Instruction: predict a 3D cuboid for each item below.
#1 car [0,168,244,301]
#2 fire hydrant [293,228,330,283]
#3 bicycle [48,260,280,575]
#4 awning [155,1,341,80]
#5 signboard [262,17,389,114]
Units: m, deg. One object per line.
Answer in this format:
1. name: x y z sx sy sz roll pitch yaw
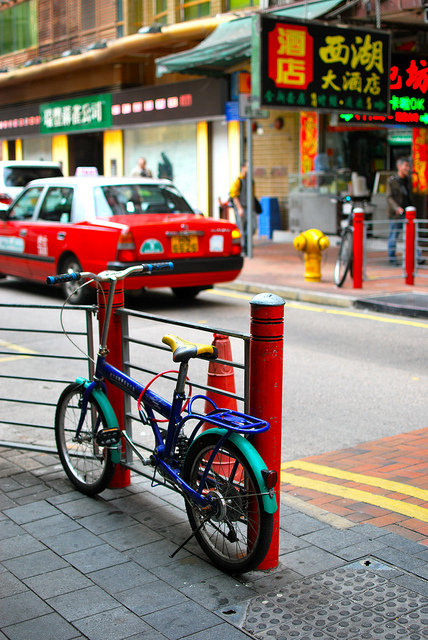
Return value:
1. car: -1.815 -1.470 10.461 1.857 1.264 3.806 -12 20 -39
2. fire hydrant: 1.691 -1.125 12.005 0.549 0.903 0.566 -1 6 6
3. bicycle: -0.325 0.413 3.217 0.616 1.202 1.740 -6 10 -40
4. awning: 0.537 -6.397 16.092 2.395 1.680 5.670 -9 19 -22
5. signboard: 1.876 -4.230 11.477 2.751 1.434 0.104 -6 7 -33
